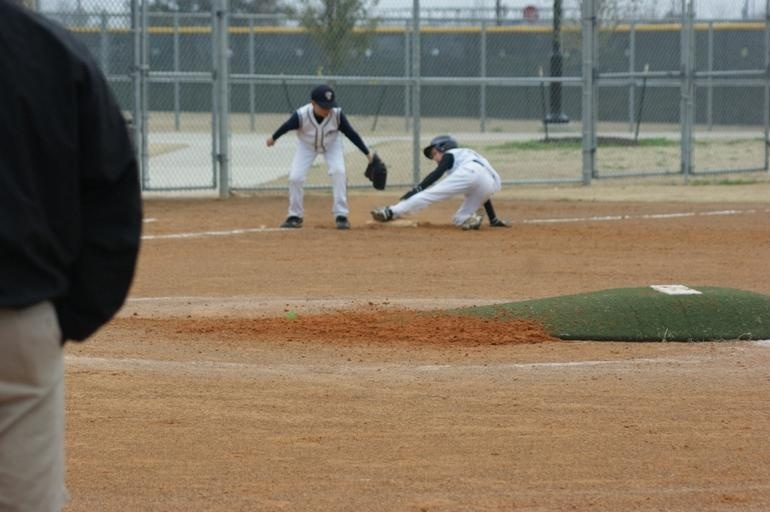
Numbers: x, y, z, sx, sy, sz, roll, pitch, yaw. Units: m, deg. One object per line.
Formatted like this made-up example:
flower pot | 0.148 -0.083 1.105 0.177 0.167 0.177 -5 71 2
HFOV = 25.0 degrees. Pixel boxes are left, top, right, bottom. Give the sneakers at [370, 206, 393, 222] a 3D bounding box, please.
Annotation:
sneakers | -0.086 -0.608 24.937 0.175 0.142 0.386 -28 14 -11

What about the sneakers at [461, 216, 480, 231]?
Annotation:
sneakers | 1.196 -0.490 24.688 0.253 0.102 0.158 -13 3 -40

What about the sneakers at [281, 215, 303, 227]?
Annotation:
sneakers | -1.334 -0.501 24.768 0.317 0.138 0.124 -1 3 2

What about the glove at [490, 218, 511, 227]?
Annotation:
glove | 1.651 -0.500 24.921 0.326 0.136 0.110 -3 16 -11

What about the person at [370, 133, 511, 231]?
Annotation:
person | 0.803 -1.128 24.839 2.093 1.359 0.887 -2 -17 -2

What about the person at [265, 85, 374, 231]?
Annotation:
person | -0.987 -1.481 24.926 1.145 2.012 1.126 3 13 17

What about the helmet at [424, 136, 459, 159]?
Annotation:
helmet | 0.784 -1.639 25.025 0.434 0.224 0.303 -18 -21 -2

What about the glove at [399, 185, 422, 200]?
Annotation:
glove | 0.332 -0.951 24.716 0.260 0.247 0.532 -3 13 -13

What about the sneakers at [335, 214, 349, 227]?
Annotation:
sneakers | -0.621 -0.515 24.751 0.194 0.171 0.327 -1 12 -2

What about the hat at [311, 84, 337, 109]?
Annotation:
hat | -0.912 -2.266 24.574 0.268 0.192 0.377 -17 38 -37
